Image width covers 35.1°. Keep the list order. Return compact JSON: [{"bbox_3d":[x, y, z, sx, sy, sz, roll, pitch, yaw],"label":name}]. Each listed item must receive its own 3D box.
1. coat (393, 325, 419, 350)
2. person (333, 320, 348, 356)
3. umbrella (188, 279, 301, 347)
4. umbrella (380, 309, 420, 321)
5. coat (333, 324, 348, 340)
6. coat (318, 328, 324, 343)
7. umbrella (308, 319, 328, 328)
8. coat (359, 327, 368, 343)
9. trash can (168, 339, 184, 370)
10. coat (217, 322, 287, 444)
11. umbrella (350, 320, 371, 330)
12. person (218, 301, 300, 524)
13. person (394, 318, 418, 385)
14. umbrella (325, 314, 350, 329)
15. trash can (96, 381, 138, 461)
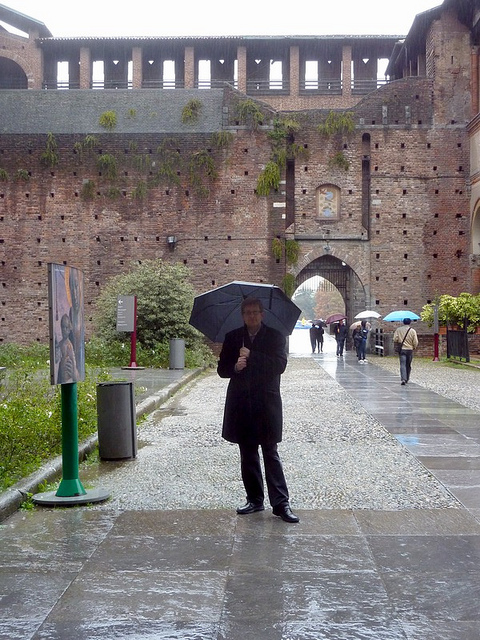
[{"bbox_3d":[3.740,0.367,16.971,0.422,0.559,0.453,-1,3,-16],"label":"coat"},{"bbox_3d":[4.113,0.711,30.926,0.418,1.423,1.619,1,4,8],"label":"person"},{"bbox_3d":[0.064,-0.129,5.864,0.918,0.388,0.893,22,-14,-42],"label":"umbrella"},{"bbox_3d":[5.791,-0.178,27.170,1.217,0.516,1.295,1,4,28],"label":"umbrella"},{"bbox_3d":[4.110,0.480,30.549,0.416,0.606,0.745,0,4,1],"label":"coat"},{"bbox_3d":[3.660,0.706,34.471,0.212,0.582,0.862,1,4,11],"label":"coat"},{"bbox_3d":[3.667,0.145,34.462,0.412,0.179,0.444,20,-1,-11],"label":"umbrella"},{"bbox_3d":[4.525,0.544,27.364,0.330,0.538,0.488,7,-16,0],"label":"coat"},{"bbox_3d":[-1.758,0.926,21.107,0.380,0.839,0.492,0,3,-8],"label":"trash can"},{"bbox_3d":[0.085,0.456,5.382,0.474,0.853,0.303,0,3,2],"label":"coat"},{"bbox_3d":[4.499,0.165,28.292,0.558,0.268,0.609,2,-5,-14],"label":"umbrella"},{"bbox_3d":[0.122,0.633,5.348,0.573,1.530,0.435,1,3,9],"label":"person"},{"bbox_3d":[3.720,0.775,16.995,0.460,1.327,0.315,1,3,10],"label":"person"},{"bbox_3d":[4.747,0.054,36.515,0.951,0.758,1.017,-15,-19,-2],"label":"umbrella"},{"bbox_3d":[-1.290,1.014,7.994,0.402,0.812,0.435,-1,7,5],"label":"trash can"}]
